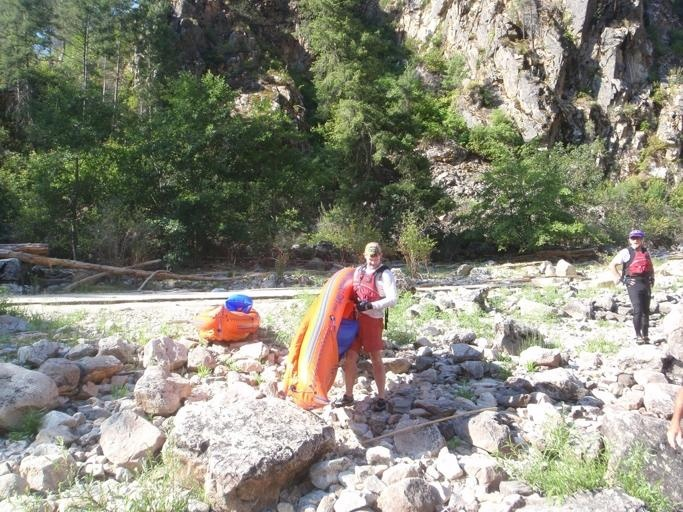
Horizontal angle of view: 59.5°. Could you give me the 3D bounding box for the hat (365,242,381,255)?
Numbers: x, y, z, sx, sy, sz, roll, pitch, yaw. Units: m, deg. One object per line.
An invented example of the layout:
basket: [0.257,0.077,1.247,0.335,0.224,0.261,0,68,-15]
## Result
hat: [0.653,-0.162,12.408,0.199,0.280,0.294,3,20,3]

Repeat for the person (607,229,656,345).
person: [7.086,0.674,14.419,0.881,2.655,0.942,-4,5,-39]

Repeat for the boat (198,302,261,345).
boat: [-2.618,1.588,13.611,0.742,0.534,1.143,5,13,-6]

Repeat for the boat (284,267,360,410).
boat: [-0.369,1.690,12.348,0.729,2.719,1.333,20,-17,-3]

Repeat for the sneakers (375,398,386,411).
sneakers: [0.779,3.043,12.280,0.250,0.259,0.187,0,4,18]

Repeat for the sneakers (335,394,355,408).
sneakers: [0.065,2.995,12.326,0.422,0.234,0.198,-2,-4,3]
